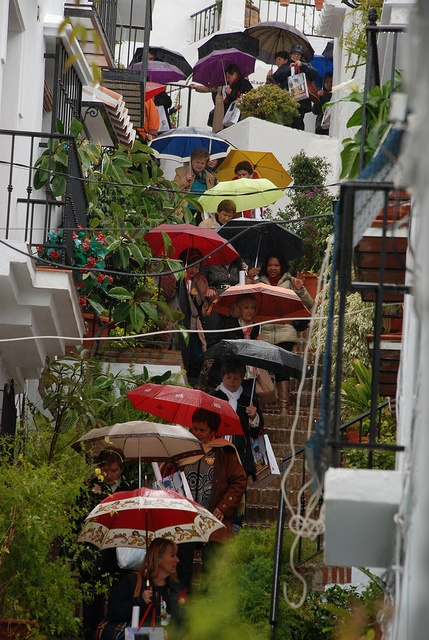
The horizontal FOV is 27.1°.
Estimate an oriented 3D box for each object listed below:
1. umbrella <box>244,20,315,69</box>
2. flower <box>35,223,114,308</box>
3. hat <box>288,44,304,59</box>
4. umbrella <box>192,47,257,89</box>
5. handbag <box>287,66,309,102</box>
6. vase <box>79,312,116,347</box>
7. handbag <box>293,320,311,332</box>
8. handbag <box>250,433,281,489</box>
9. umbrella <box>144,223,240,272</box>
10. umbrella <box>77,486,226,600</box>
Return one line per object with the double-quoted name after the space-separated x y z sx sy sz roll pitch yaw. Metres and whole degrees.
1.544 -6.679 22.107 1.412 0.656 1.348 14 -30 8 "umbrella"
-1.259 -0.415 8.117 0.591 0.796 2.417 1 4 -6 "flower"
1.860 -6.107 20.544 0.279 0.474 0.447 1 4 -1 "hat"
0.152 -5.732 20.320 1.522 0.766 0.544 3 4 28 "umbrella"
1.878 -5.382 20.300 0.482 0.738 0.419 2 4 11 "handbag"
-1.334 0.089 10.014 0.408 0.307 0.417 6 -7 -12 "vase"
1.143 0.088 11.500 0.201 0.144 0.268 -1 -3 13 "handbag"
0.463 1.365 8.440 0.186 0.550 0.384 -2 -37 -15 "handbag"
-0.310 -0.938 11.185 1.040 0.496 2.193 1 3 7 "umbrella"
-0.463 1.479 6.221 0.685 0.663 0.550 -3 44 -2 "umbrella"
